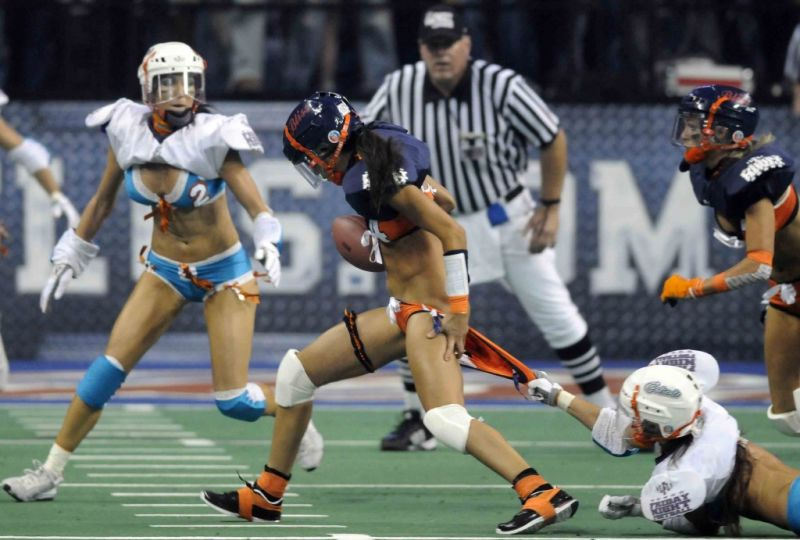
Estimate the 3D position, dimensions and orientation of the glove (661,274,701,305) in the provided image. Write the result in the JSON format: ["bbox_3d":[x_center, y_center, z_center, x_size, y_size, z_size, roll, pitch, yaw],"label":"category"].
[{"bbox_3d":[1.795,0.153,7.733,0.195,0.129,0.245,-23,19,-16],"label":"glove"}]

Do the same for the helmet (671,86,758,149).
[{"bbox_3d":[2.092,-1.013,7.855,0.556,0.428,0.442,5,10,-4],"label":"helmet"}]

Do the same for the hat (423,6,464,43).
[{"bbox_3d":[0.309,-1.817,8.830,0.343,0.292,0.212,2,6,10],"label":"hat"}]

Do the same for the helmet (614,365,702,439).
[{"bbox_3d":[1.516,0.740,7.062,0.459,0.397,0.372,10,38,26],"label":"helmet"}]

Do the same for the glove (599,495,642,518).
[{"bbox_3d":[1.344,1.447,7.299,0.201,0.092,0.148,-1,-2,-6],"label":"glove"}]

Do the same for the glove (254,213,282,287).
[{"bbox_3d":[-0.844,-0.133,7.574,0.181,0.140,0.489,-5,53,-10],"label":"glove"}]

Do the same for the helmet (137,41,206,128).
[{"bbox_3d":[-1.631,-1.209,7.943,0.433,0.535,0.556,-5,8,-19],"label":"helmet"}]

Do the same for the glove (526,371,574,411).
[{"bbox_3d":[0.923,0.768,7.384,0.281,0.207,0.119,10,-19,10],"label":"glove"}]

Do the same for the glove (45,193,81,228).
[{"bbox_3d":[-3.068,-0.517,10.714,0.123,0.139,0.455,-29,69,-27],"label":"glove"}]
